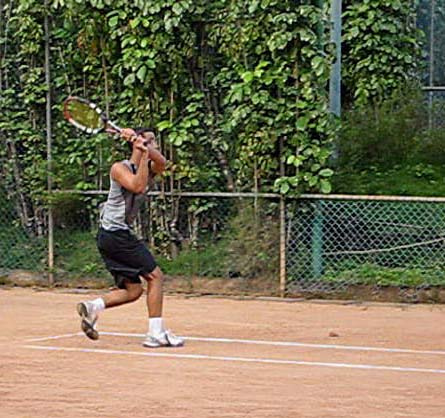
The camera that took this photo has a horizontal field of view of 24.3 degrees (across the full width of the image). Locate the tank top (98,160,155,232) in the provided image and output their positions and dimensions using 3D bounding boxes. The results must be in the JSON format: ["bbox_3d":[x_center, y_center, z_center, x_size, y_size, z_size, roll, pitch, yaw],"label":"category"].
[{"bbox_3d":[-1.091,-0.083,11.554,0.442,0.698,0.477,22,22,16],"label":"tank top"}]

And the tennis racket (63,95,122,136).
[{"bbox_3d":[-1.541,-1.089,12.025,0.166,0.340,1.087,-2,21,-44],"label":"tennis racket"}]

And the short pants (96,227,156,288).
[{"bbox_3d":[-1.080,0.554,11.525,0.649,0.692,0.231,0,10,-6],"label":"short pants"}]
